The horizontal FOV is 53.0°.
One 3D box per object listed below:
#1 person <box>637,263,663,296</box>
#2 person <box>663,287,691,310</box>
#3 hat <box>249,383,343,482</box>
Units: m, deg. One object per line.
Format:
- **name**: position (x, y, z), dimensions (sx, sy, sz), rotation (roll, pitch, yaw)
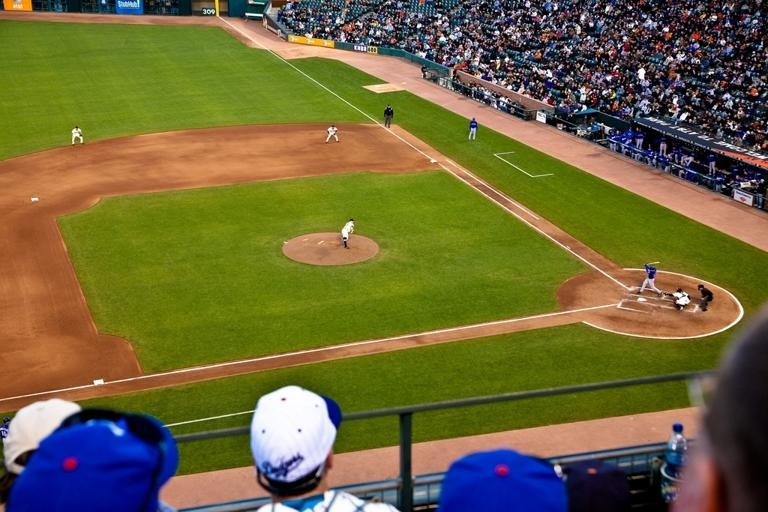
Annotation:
- **person**: position (10.782, 1.011, 31.298), dimensions (1.066, 1.269, 0.520), rotation (1, 60, 11)
- **person**: position (11.257, 1.655, 29.748), dimensions (0.880, 0.282, 0.859), rotation (19, 50, 43)
- **hat**: position (-0.916, 1.557, 7.248), dimensions (0.919, 0.503, 1.030), rotation (6, 37, 5)
